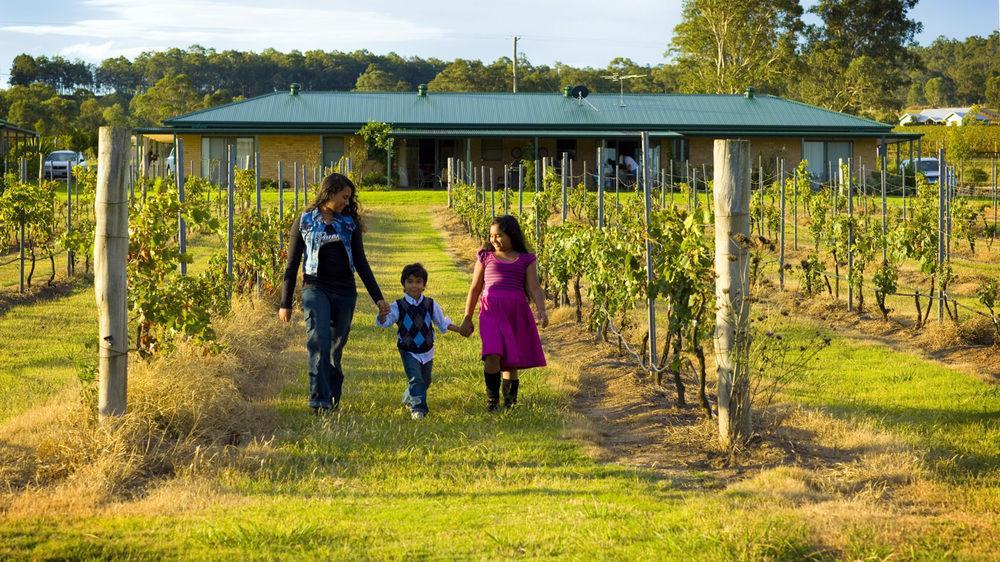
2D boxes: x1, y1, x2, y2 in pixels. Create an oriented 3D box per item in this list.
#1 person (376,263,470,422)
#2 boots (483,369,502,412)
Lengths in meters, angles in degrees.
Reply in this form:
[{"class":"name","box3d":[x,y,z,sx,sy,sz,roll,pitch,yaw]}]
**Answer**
[{"class":"person","box3d":[-1.706,1.189,25.440,1.245,3.053,0.836,0,5,-5]},{"class":"boots","box3d":[-0.139,2.224,25.527,0.335,0.867,0.759,0,15,0]}]
